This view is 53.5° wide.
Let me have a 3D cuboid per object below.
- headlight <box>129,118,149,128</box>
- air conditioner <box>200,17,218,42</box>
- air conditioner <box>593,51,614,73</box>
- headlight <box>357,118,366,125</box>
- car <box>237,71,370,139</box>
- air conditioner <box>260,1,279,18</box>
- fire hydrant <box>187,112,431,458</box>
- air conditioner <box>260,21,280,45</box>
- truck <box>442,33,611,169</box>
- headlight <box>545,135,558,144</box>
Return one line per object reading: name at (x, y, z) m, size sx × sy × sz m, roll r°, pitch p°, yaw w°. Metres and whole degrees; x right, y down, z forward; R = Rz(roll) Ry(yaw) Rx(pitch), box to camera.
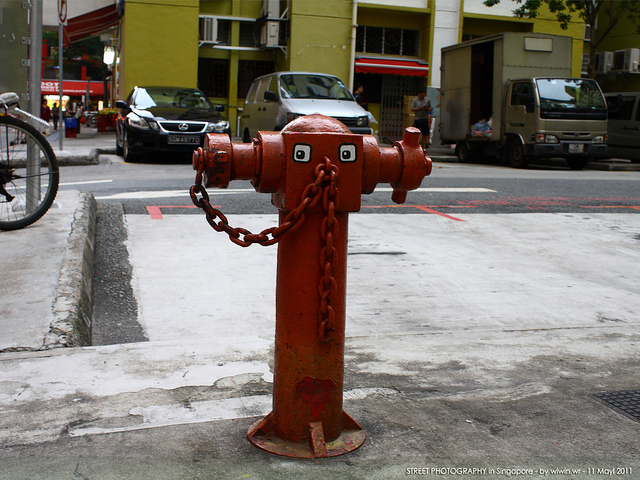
headlight at (-3.589, -2.485, 13.261) m, size 0.322 × 0.099 × 0.233 m, roll 9°, pitch 19°, yaw -1°
air conditioner at (-4.086, -8.348, 24.939) m, size 0.417 × 0.838 × 0.903 m, roll -2°, pitch 12°, yaw -15°
air conditioner at (13.826, -8.920, 31.522) m, size 0.613 × 1.051 × 0.769 m, roll 2°, pitch 13°, yaw 4°
headlight at (0.934, -2.535, 13.394) m, size 0.221 × 0.184 × 0.120 m, roll -1°, pitch -7°, yaw -2°
car at (-0.266, -3.143, 15.137) m, size 2.342 × 2.093 × 4.195 m, roll -3°, pitch 9°, yaw -21°
air conditioner at (-1.855, -9.415, 25.755) m, size 0.867 × 0.692 × 0.695 m, roll 6°, pitch 14°, yaw 19°
fire hydrant at (-0.048, 0.152, 3.012) m, size 0.912 × 1.482 × 0.814 m, roll 6°, pitch 14°, yaw 20°
air conditioner at (-1.763, -8.354, 25.414) m, size 1.086 × 1.056 × 0.697 m, roll 1°, pitch 11°, yaw -2°
truck at (6.065, -3.992, 18.517) m, size 2.781 × 3.776 × 5.719 m, roll -1°, pitch 6°, yaw -14°
headlight at (5.580, -2.503, 15.579) m, size 0.297 × 0.206 × 0.171 m, roll 0°, pitch 1°, yaw 0°
